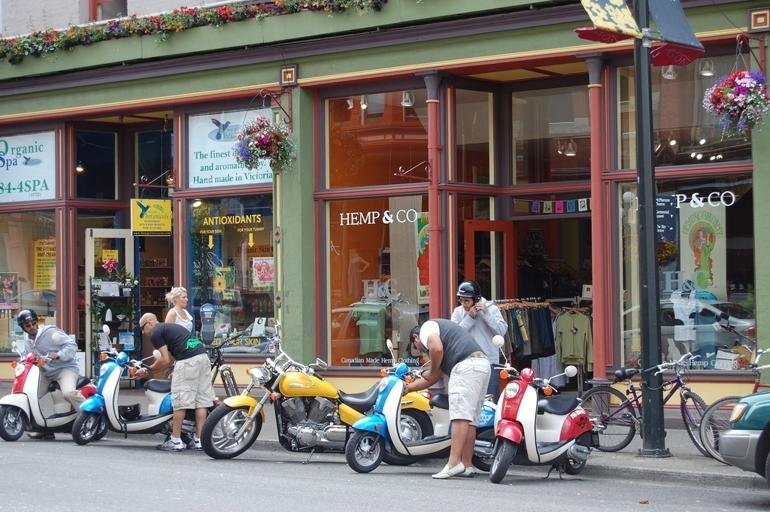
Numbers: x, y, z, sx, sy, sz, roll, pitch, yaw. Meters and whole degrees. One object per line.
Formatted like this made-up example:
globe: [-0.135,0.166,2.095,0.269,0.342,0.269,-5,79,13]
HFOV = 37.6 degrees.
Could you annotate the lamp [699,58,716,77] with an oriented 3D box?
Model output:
lamp: [5.521,-3.263,19.387,0.262,0.270,0.229,1,1,-26]

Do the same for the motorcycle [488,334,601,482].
motorcycle: [2.243,2.410,16.438,1.680,1.628,0.482,-2,-3,-24]

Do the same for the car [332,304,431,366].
car: [-0.319,1.447,21.536,1.930,1.454,1.322,-1,-1,2]

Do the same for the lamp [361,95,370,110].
lamp: [-0.400,-2.963,21.569,0.192,0.234,0.090,14,20,21]

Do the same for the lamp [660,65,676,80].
lamp: [4.930,-3.245,19.719,0.214,0.240,0.206,-5,9,-22]

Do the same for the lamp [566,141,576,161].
lamp: [3.450,-2.018,20.936,0.233,0.282,0.244,4,6,20]

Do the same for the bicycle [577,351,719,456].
bicycle: [4.204,2.338,18.211,1.947,1.584,0.986,-1,-2,18]

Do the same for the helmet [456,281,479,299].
helmet: [1.251,0.502,17.302,0.228,0.263,0.305,7,12,34]

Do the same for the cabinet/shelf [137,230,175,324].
cabinet/shelf: [-5.072,0.389,25.015,0.817,2.113,0.700,1,-5,0]

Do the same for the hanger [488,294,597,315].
hanger: [2.733,0.807,21.053,1.602,0.308,0.377,2,28,-22]

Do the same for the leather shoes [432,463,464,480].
leather shoes: [0.924,3.084,16.394,0.509,0.203,0.193,-4,1,-8]

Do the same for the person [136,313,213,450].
person: [-3.514,2.001,18.461,1.261,2.252,0.955,-4,-6,5]

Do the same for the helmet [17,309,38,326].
helmet: [-6.202,1.039,19.392,0.276,0.272,0.292,-2,-3,-24]

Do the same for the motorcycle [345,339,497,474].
motorcycle: [0.597,2.309,17.017,2.523,1.902,0.856,0,-3,1]
